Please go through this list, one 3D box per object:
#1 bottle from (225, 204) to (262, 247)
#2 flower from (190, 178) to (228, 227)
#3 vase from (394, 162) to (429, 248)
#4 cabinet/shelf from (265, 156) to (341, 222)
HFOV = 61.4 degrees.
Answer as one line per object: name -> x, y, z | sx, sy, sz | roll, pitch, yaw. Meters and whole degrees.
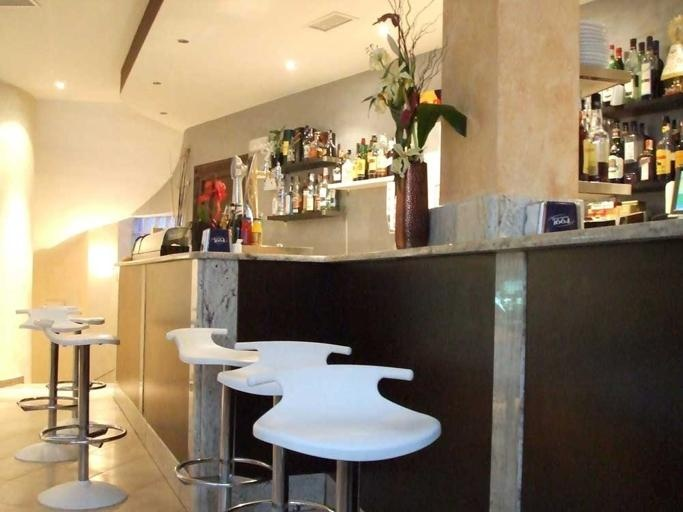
bottle -> -0.565, -0.190, 3.490 | 0.265, 0.284, 0.160 | 0, 2, -22
flower -> -0.751, -0.352, 3.486 | 0.129, 0.221, 0.173 | 5, 17, 17
vase -> 0.312, -0.228, 2.553 | 0.151, 0.382, 0.071 | -3, 0, 7
cabinet/shelf -> -0.339, -0.616, 5.452 | 0.770, 0.503, 0.249 | -4, -3, 27
